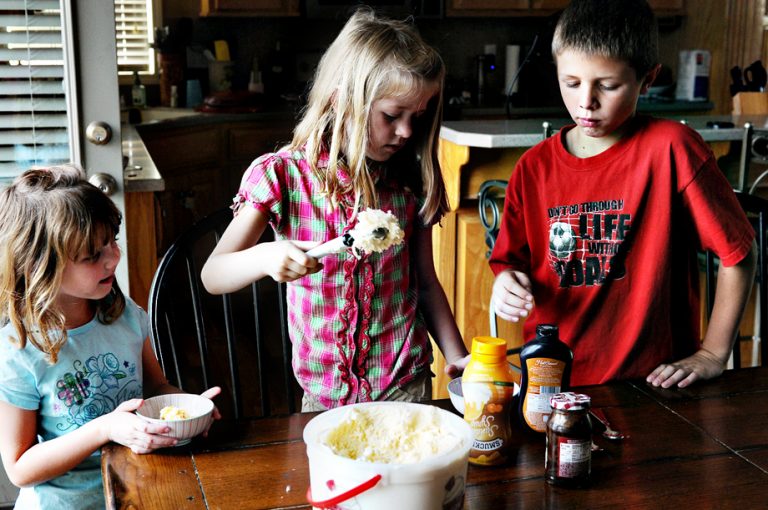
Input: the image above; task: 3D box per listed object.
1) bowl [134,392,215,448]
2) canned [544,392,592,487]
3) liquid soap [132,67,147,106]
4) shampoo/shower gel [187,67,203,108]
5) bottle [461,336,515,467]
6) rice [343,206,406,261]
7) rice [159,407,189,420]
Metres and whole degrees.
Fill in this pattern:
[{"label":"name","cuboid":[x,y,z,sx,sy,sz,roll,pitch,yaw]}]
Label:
[{"label":"bowl","cuboid":[-0.447,0.359,1.364,0.150,0.067,0.150,6,10,-1]},{"label":"canned","cuboid":[0.372,0.359,1.250,0.108,0.176,0.073,-3,14,-2]},{"label":"liquid soap","cuboid":[-1.916,-1.293,4.901,0.122,0.275,0.090,-14,17,-37]},{"label":"shampoo/shower gel","cuboid":[-1.519,-1.351,5.058,0.150,0.311,0.284,-5,14,-8]},{"label":"bottle","cuboid":[0.213,0.300,1.296,0.117,0.251,0.087,-12,16,-33]},{"label":"rice","cuboid":[-0.005,-0.064,1.356,0.078,0.033,0.076,33,-42,-28]},{"label":"rice","cuboid":[-0.464,0.345,1.368,0.040,0.015,0.046,2,2,-1]}]
